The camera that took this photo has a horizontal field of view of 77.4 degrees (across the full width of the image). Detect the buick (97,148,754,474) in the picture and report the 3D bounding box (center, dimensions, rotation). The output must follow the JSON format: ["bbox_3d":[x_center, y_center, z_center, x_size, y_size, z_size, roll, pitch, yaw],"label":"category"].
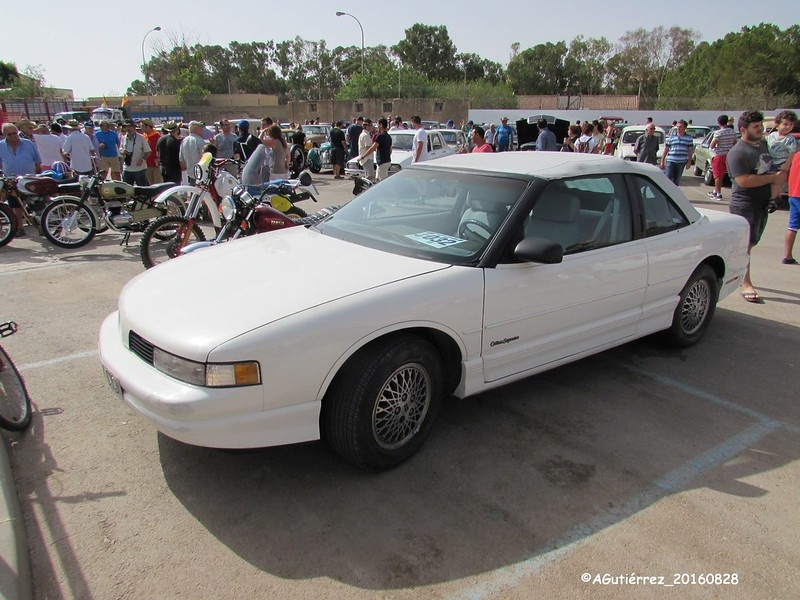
[{"bbox_3d":[0.673,-0.045,4.171,5.103,1.558,2.135,-11,20,-33],"label":"buick"}]

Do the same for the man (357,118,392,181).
[{"bbox_3d":[-0.614,-3.766,13.781,0.633,2.370,0.772,9,18,25],"label":"man"}]

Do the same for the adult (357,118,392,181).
[{"bbox_3d":[-0.615,-3.803,13.766,0.611,2.307,0.818,16,26,34],"label":"adult"}]

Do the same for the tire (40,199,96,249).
[{"bbox_3d":[-5.742,-1.323,8.599,0.917,0.952,0.220,-1,-3,-10],"label":"tire"}]

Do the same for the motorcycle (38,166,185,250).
[{"bbox_3d":[-5.082,-1.757,9.061,1.321,1.495,2.586,19,23,32],"label":"motorcycle"}]

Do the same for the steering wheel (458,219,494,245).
[{"bbox_3d":[0.539,-0.508,3.652,0.207,0.053,0.217,-1,36,0],"label":"steering wheel"}]

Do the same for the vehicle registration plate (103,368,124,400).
[{"bbox_3d":[-1.867,0.550,3.255,0.051,0.089,0.347,-13,29,-32],"label":"vehicle registration plate"}]

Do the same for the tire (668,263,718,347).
[{"bbox_3d":[2.982,0.092,4.878,0.234,0.721,0.714,12,-5,5],"label":"tire"}]

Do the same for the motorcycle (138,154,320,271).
[{"bbox_3d":[-2.283,-1.295,6.991,1.010,1.523,2.620,11,22,43],"label":"motorcycle"}]

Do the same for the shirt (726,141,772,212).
[{"bbox_3d":[4.290,-1.523,6.108,0.541,1.040,1.041,2,21,33],"label":"shirt"}]

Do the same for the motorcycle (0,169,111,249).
[{"bbox_3d":[-6.223,-1.609,8.823,1.873,1.263,1.090,-4,11,-7],"label":"motorcycle"}]
